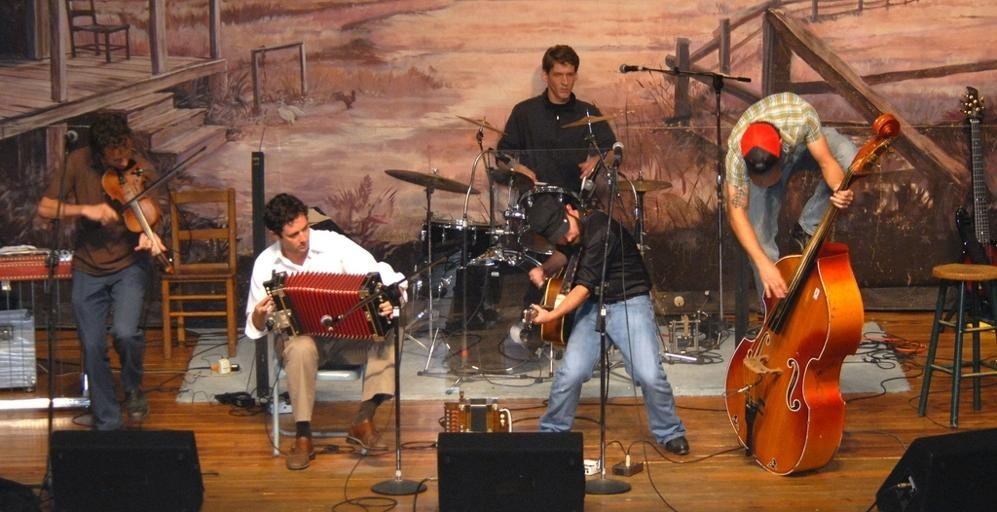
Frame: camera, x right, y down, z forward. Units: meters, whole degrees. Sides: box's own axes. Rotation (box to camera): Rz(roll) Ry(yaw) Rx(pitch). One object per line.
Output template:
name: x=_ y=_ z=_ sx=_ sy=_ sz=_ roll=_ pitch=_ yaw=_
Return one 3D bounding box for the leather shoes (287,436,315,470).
leather shoes: x=-1.857 y=1.790 z=11.355 sx=0.244 sy=0.212 sz=0.529 roll=5 pitch=11 yaw=0

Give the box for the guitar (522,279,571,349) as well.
guitar: x=0.465 y=0.503 z=11.645 sx=0.312 sy=0.671 sz=0.829 roll=2 pitch=2 yaw=6

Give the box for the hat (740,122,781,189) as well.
hat: x=2.454 y=-0.936 z=11.384 sx=0.512 sy=0.483 sz=0.505 roll=-18 pitch=25 yaw=-23

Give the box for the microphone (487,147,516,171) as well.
microphone: x=0.031 y=-0.972 z=12.162 sx=0.268 sy=0.202 sz=0.061 roll=-5 pitch=-7 yaw=35

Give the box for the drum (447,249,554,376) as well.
drum: x=-0.015 y=0.521 z=12.401 sx=0.915 sy=1.281 sz=0.909 roll=0 pitch=0 yaw=0

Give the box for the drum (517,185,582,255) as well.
drum: x=0.405 y=-0.366 z=11.677 sx=0.813 sy=0.935 sz=0.342 roll=2 pitch=1 yaw=7

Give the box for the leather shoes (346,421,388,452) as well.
leather shoes: x=-1.222 y=1.658 z=11.388 sx=0.442 sy=0.217 sz=0.226 roll=2 pitch=-1 yaw=32

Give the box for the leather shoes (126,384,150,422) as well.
leather shoes: x=-3.496 y=1.407 z=11.860 sx=0.155 sy=0.352 sz=0.255 roll=-5 pitch=-9 yaw=-6

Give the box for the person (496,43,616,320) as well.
person: x=0.513 y=-0.710 z=12.529 sx=1.330 sy=2.708 sz=0.999 roll=3 pitch=6 yaw=0

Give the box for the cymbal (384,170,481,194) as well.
cymbal: x=-0.643 y=-0.757 z=12.469 sx=0.960 sy=0.324 sz=0.339 roll=-3 pitch=-6 yaw=19

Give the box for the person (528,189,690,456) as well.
person: x=0.854 y=0.597 z=11.463 sx=1.542 sy=2.401 sz=0.968 roll=-5 pitch=4 yaw=-10

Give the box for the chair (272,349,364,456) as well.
chair: x=-1.874 y=1.348 z=11.722 sx=1.206 sy=1.013 sz=0.908 roll=0 pitch=-2 yaw=-7

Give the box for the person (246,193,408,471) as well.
person: x=-1.621 y=0.677 z=11.333 sx=1.411 sy=2.505 sz=0.634 roll=0 pitch=-6 yaw=-11

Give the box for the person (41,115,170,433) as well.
person: x=-3.669 y=0.159 z=11.815 sx=1.136 sy=2.755 sz=1.236 roll=2 pitch=-3 yaw=19

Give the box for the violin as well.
violin: x=-3.399 y=-0.429 z=11.566 sx=0.440 sy=0.984 sz=0.198 roll=-26 pitch=13 yaw=8

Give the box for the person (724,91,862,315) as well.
person: x=2.744 y=-0.540 z=11.798 sx=1.103 sy=2.112 sz=1.008 roll=5 pitch=2 yaw=0

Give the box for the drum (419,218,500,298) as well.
drum: x=-0.272 y=0.001 z=12.522 sx=0.849 sy=0.798 sz=0.826 roll=3 pitch=4 yaw=23
